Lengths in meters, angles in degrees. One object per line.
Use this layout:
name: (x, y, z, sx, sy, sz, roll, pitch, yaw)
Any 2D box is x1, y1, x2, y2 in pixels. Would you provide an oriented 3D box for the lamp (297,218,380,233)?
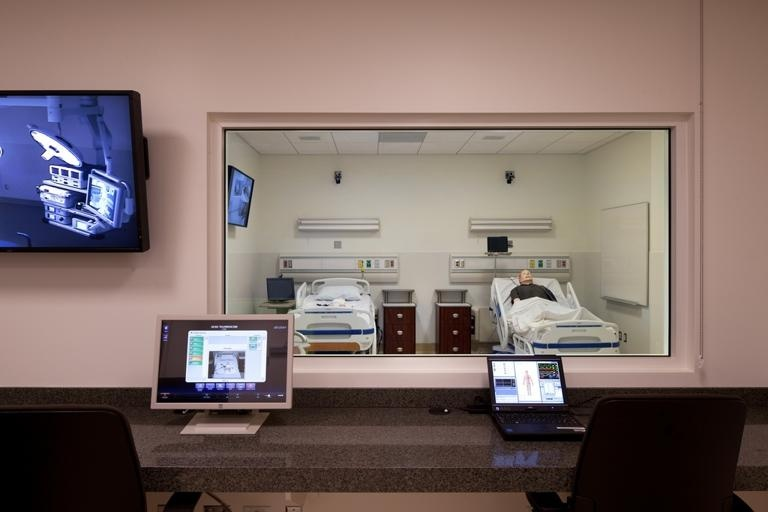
lamp: (-0.527, -0.364, 6.507, 0.980, 0.186, 0.101, -2, -2, -2)

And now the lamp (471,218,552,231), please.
lamp: (1.573, -0.386, 6.635, 0.944, 0.155, 0.171, -1, 5, -1)

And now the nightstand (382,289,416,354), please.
nightstand: (0.170, 0.733, 6.207, 0.392, 0.710, 0.573, -2, -2, 3)

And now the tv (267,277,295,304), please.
tv: (-1.152, 0.392, 6.090, 0.320, 0.255, 0.122, 0, -5, -9)

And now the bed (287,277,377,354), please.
bed: (-0.412, 0.531, 5.220, 0.648, 0.417, 0.977, 0, 0, 2)

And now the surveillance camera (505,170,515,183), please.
surveillance camera: (1.509, -0.938, 6.520, 0.140, 0.168, 0.141, 0, 3, -1)

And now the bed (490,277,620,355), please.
bed: (1.494, 0.545, 4.929, 0.637, 0.430, 1.102, -1, -3, -4)

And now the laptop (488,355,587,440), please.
laptop: (0.705, 0.675, 2.631, 0.393, 0.216, 0.349, 0, 5, -4)

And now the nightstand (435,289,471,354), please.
nightstand: (0.812, 0.745, 6.367, 0.450, 0.724, 0.429, -2, -2, 7)
